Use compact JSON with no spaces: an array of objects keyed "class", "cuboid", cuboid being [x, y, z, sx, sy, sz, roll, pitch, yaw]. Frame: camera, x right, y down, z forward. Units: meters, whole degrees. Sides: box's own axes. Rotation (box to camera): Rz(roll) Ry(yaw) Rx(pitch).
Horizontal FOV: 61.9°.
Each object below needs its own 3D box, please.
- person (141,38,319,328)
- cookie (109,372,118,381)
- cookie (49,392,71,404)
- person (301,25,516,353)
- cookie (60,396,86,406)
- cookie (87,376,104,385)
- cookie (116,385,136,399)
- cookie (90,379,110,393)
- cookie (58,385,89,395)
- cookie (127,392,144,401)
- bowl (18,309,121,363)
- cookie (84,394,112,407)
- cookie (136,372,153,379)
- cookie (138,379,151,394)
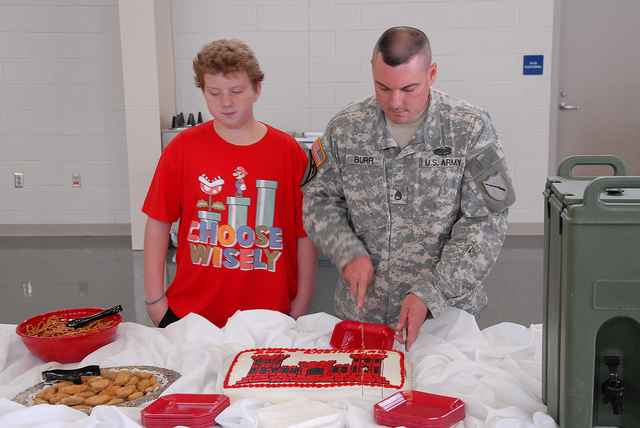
[{"class":"person","cuboid":[-0.321,0.176,2.310,0.795,1.719,0.491,-2,11,-7]},{"class":"cookie","cuboid":[-0.626,0.496,1.622,0.022,0.014,0.034,-12,18,-35]},{"class":"cookie","cuboid":[-0.756,0.534,1.541,0.031,0.010,0.031,8,18,29]},{"class":"person","cuboid":[0.293,-0.089,1.990,0.815,1.172,0.650,4,16,19]},{"class":"cookie","cuboid":[-0.712,0.542,1.538,0.046,0.011,0.027,-3,2,1]},{"class":"cookie","cuboid":[-0.678,0.506,1.608,0.024,0.008,0.024,-2,12,32]},{"class":"cookie","cuboid":[-0.570,0.526,1.569,0.026,0.011,0.035,10,27,30]},{"class":"cookie","cuboid":[-0.650,0.510,1.578,0.031,0.012,0.040,19,31,39]},{"class":"cookie","cuboid":[-0.725,0.520,1.571,0.046,0.010,0.032,1,6,-11]},{"class":"cookie","cuboid":[-0.538,0.537,1.562,0.028,0.012,0.021,-15,12,-10]},{"class":"bowl","cuboid":[-0.860,0.423,1.845,0.312,0.108,0.311,2,7,0]},{"class":"cookie","cuboid":[-0.642,0.544,1.546,0.076,0.018,0.036,-1,15,-1]},{"class":"cookie","cuboid":[-0.533,0.496,1.630,0.044,0.009,0.023,1,15,7]},{"class":"cookie","cuboid":[-0.526,0.518,1.599,0.039,0.025,0.033,12,20,41]}]
